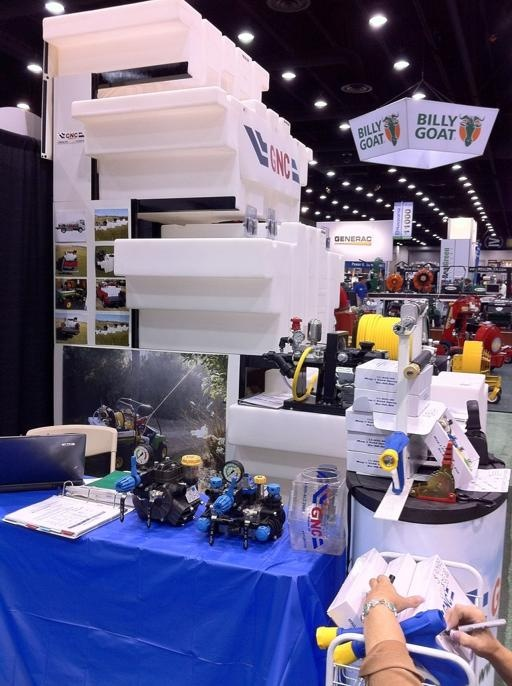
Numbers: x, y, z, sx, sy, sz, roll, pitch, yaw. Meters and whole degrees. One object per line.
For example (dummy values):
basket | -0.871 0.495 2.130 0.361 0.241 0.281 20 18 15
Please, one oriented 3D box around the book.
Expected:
book | -0.632 0.580 1.851 0.225 0.069 0.252 2 3 30
